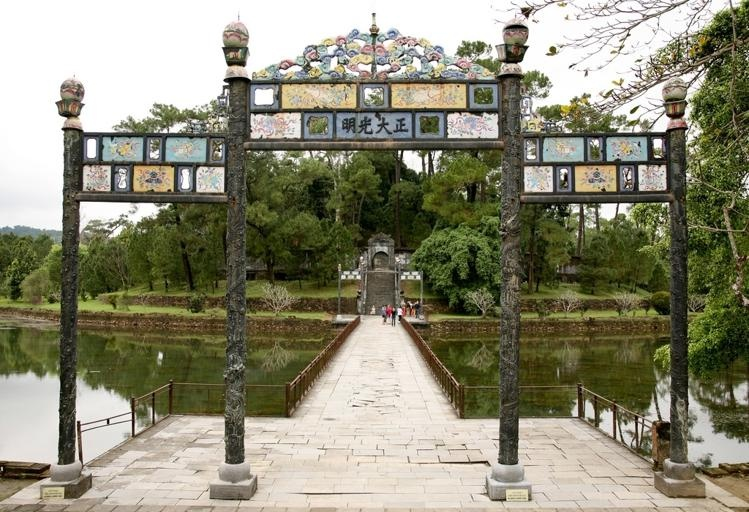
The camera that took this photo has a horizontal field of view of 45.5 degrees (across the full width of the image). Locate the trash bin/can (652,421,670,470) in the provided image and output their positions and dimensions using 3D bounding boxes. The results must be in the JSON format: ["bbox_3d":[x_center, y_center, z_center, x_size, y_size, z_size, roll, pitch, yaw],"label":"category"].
[{"bbox_3d":[7.108,4.656,22.007,0.397,1.184,0.384,-1,1,16],"label":"trash bin/can"}]
